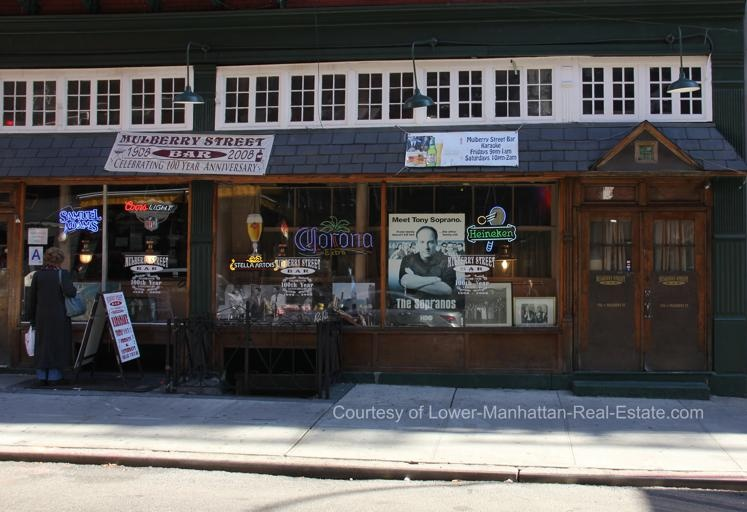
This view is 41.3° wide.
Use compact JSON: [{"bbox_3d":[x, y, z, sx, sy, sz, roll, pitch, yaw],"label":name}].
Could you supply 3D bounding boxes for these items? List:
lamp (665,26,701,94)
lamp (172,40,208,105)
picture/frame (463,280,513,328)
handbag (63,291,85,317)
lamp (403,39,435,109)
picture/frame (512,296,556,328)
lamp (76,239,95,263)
[{"bbox_3d":[5.661,-3.622,18.138,0.617,1.293,1.202,-1,0,17],"label":"lamp"},{"bbox_3d":[-3.497,-3.522,18.967,0.660,1.258,1.049,-1,0,-11],"label":"lamp"},{"bbox_3d":[2.201,0.941,18.782,0.935,0.789,0.092,-2,-5,5],"label":"picture/frame"},{"bbox_3d":[-5.554,0.891,18.304,0.236,0.495,0.526,-11,-9,23],"label":"handbag"},{"bbox_3d":[0.888,-3.440,18.619,0.640,1.369,0.972,-1,0,1],"label":"lamp"},{"bbox_3d":[3.066,1.068,18.695,0.648,0.422,0.060,1,-10,3],"label":"picture/frame"},{"bbox_3d":[-5.640,-0.073,19.403,0.423,0.552,0.411,-1,3,-38],"label":"lamp"}]
